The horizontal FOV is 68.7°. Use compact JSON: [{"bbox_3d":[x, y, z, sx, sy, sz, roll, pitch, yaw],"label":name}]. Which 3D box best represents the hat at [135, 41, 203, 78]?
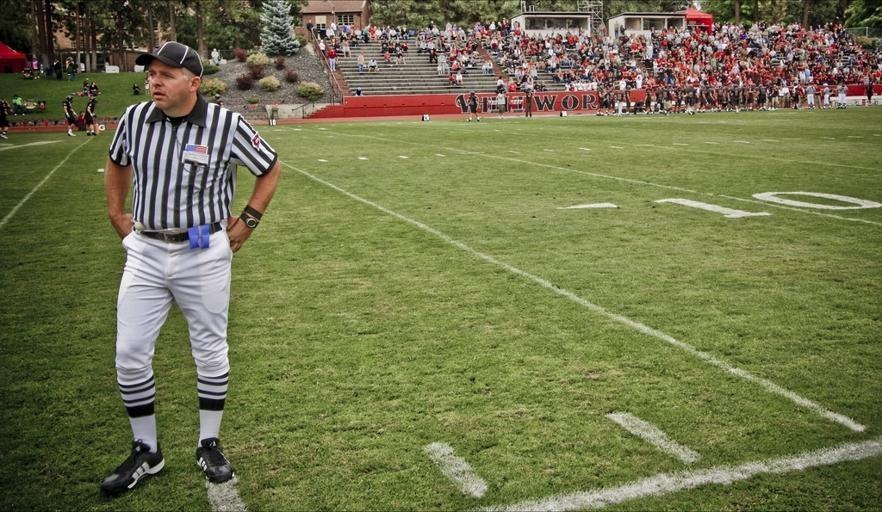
[{"bbox_3d":[-2.182,-1.586,5.220,0.314,0.204,0.455,19,6,41],"label":"hat"}]
